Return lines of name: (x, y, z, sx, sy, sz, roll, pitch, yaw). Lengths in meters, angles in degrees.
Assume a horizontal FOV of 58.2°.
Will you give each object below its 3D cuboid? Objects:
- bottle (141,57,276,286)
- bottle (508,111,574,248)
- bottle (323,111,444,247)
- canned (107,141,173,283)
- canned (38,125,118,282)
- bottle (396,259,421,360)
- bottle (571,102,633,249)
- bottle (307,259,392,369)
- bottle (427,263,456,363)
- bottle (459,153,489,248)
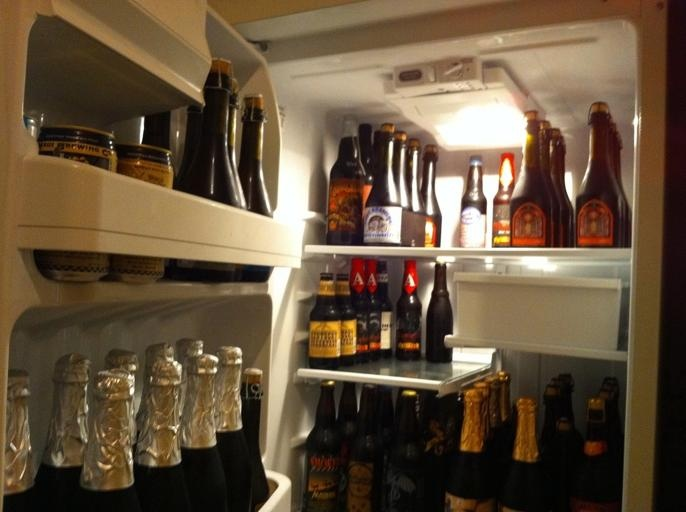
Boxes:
bottle: (-0.237, -0.140, 1.198, 0.177, 0.384, 0.290, -3, -5, 10)
bottle: (0.522, -0.182, 1.583, 0.232, 0.338, 0.096, 3, -6, -45)
bottle: (0.157, -0.203, 1.887, 0.380, 0.373, 0.222, 2, -6, -40)
canned: (-0.321, -0.066, 0.984, 0.080, 0.225, 0.084, 4, 0, -9)
canned: (-0.374, -0.073, 0.858, 0.092, 0.218, 0.169, -2, -5, -2)
bottle: (0.209, 0.169, 1.968, 0.083, 0.319, 0.057, -1, -5, -10)
bottle: (0.631, -0.179, 1.505, 0.116, 0.337, 0.258, -4, -5, 27)
bottle: (0.010, 0.168, 1.895, 0.164, 0.323, 0.319, -4, -5, 28)
bottle: (0.307, 0.177, 1.944, 0.098, 0.309, 0.089, -1, -5, -13)
bottle: (0.389, -0.162, 1.843, 0.076, 0.282, 0.127, -3, -5, 13)
